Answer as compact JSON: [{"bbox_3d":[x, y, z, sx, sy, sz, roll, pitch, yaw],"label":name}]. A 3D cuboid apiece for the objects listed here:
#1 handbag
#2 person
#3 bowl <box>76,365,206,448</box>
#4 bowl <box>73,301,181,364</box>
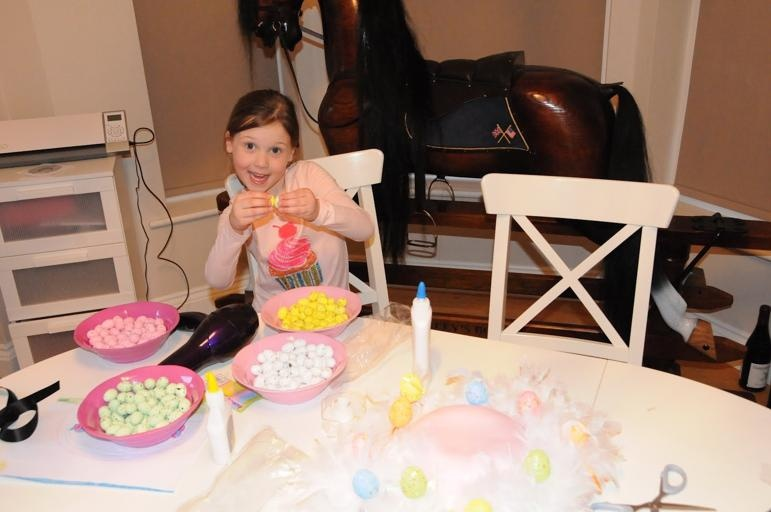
[{"bbox_3d":[0.417,-0.680,2.436,0.454,0.403,0.174,4,22,14],"label":"handbag"},{"bbox_3d":[-0.350,-0.169,1.948,0.503,0.778,0.483,8,24,22],"label":"person"},{"bbox_3d":[-0.644,0.410,1.379,0.291,0.102,0.303,16,-13,4],"label":"bowl"},{"bbox_3d":[-0.741,0.206,1.606,0.206,0.073,0.213,0,31,0],"label":"bowl"}]
